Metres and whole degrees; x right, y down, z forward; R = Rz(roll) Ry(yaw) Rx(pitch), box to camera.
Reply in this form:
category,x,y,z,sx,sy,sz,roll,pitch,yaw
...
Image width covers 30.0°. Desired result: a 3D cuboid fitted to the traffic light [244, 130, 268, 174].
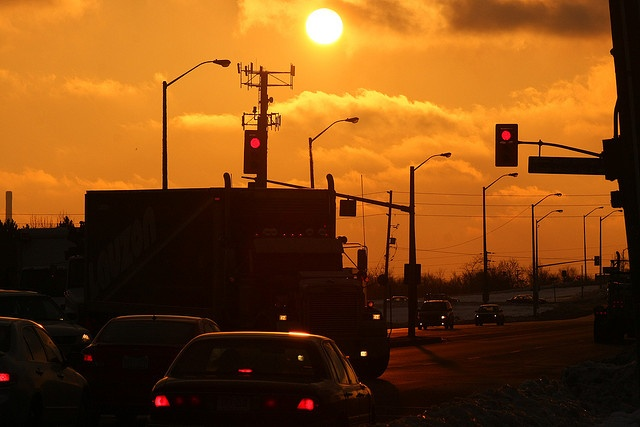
category,x,y,z,sx,sy,sz,roll,pitch,yaw
traffic light,-2.091,-1.917,37.993,0.632,1.455,1.212,1,-7,-5

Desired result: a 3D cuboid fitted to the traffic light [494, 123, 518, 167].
category,x,y,z,sx,sy,sz,roll,pitch,yaw
traffic light,6.437,-2.388,41.061,0.743,1.524,0.315,0,-19,10

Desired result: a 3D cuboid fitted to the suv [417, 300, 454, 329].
category,x,y,z,sx,sy,sz,roll,pitch,yaw
suv,6.832,5.829,69.139,1.243,1.119,2.251,-2,-10,10

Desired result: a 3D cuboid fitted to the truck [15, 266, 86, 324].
category,x,y,z,sx,sy,sz,roll,pitch,yaw
truck,-8.918,2.526,39.970,1.920,1.791,3.157,0,-12,-6

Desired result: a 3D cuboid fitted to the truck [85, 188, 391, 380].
category,x,y,z,sx,sy,sz,roll,pitch,yaw
truck,-2.825,1.817,35.294,8.354,4.899,4.713,-3,-3,32
